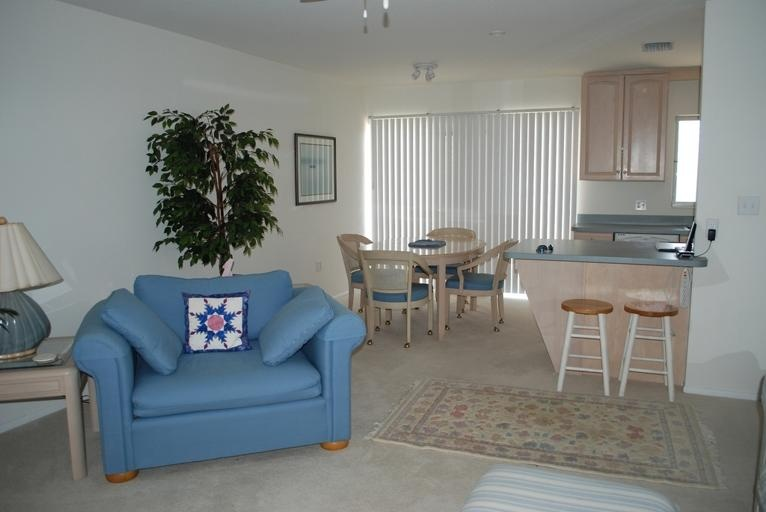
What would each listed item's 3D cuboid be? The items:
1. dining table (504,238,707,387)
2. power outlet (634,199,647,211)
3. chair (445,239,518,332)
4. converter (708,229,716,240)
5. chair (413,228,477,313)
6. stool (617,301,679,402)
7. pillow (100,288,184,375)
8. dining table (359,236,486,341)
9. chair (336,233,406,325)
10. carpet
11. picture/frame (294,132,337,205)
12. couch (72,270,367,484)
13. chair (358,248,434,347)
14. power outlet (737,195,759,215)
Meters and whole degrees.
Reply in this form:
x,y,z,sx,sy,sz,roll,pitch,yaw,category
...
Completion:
x,y,z,sx,sy,sz,roll,pitch,yaw,category
2.145,0.696,5.168,1.504,0.943,1.071,7,53,22,dining table
3.452,-0.687,7.303,0.150,0.156,0.023,2,1,29,power outlet
1.117,0.328,6.442,0.884,1.050,0.832,-2,9,-2,chair
2.814,-0.179,4.663,0.069,0.103,0.049,1,11,26,converter
0.726,0.367,6.333,0.577,0.627,0.999,-3,-10,9,chair
2.305,0.834,4.746,0.663,0.729,0.677,4,3,41,stool
-1.723,0.571,3.910,0.432,0.532,0.348,-6,10,-14,pillow
0.550,0.286,6.360,1.234,0.863,1.161,-7,12,-31,dining table
-0.177,0.290,6.486,0.806,0.939,0.783,-2,10,-9,chair
1.296,1.359,4.303,2.380,0.263,1.086,-1,8,13,carpet
-0.912,-1.150,7.341,0.043,0.926,0.927,5,11,27,picture/frame
-1.253,0.820,4.234,1.941,1.183,1.063,-1,13,-26,couch
0.134,0.403,6.118,0.904,1.028,0.844,-11,13,-43,chair
3.079,-0.432,4.589,0.169,0.179,0.024,1,1,27,power outlet
